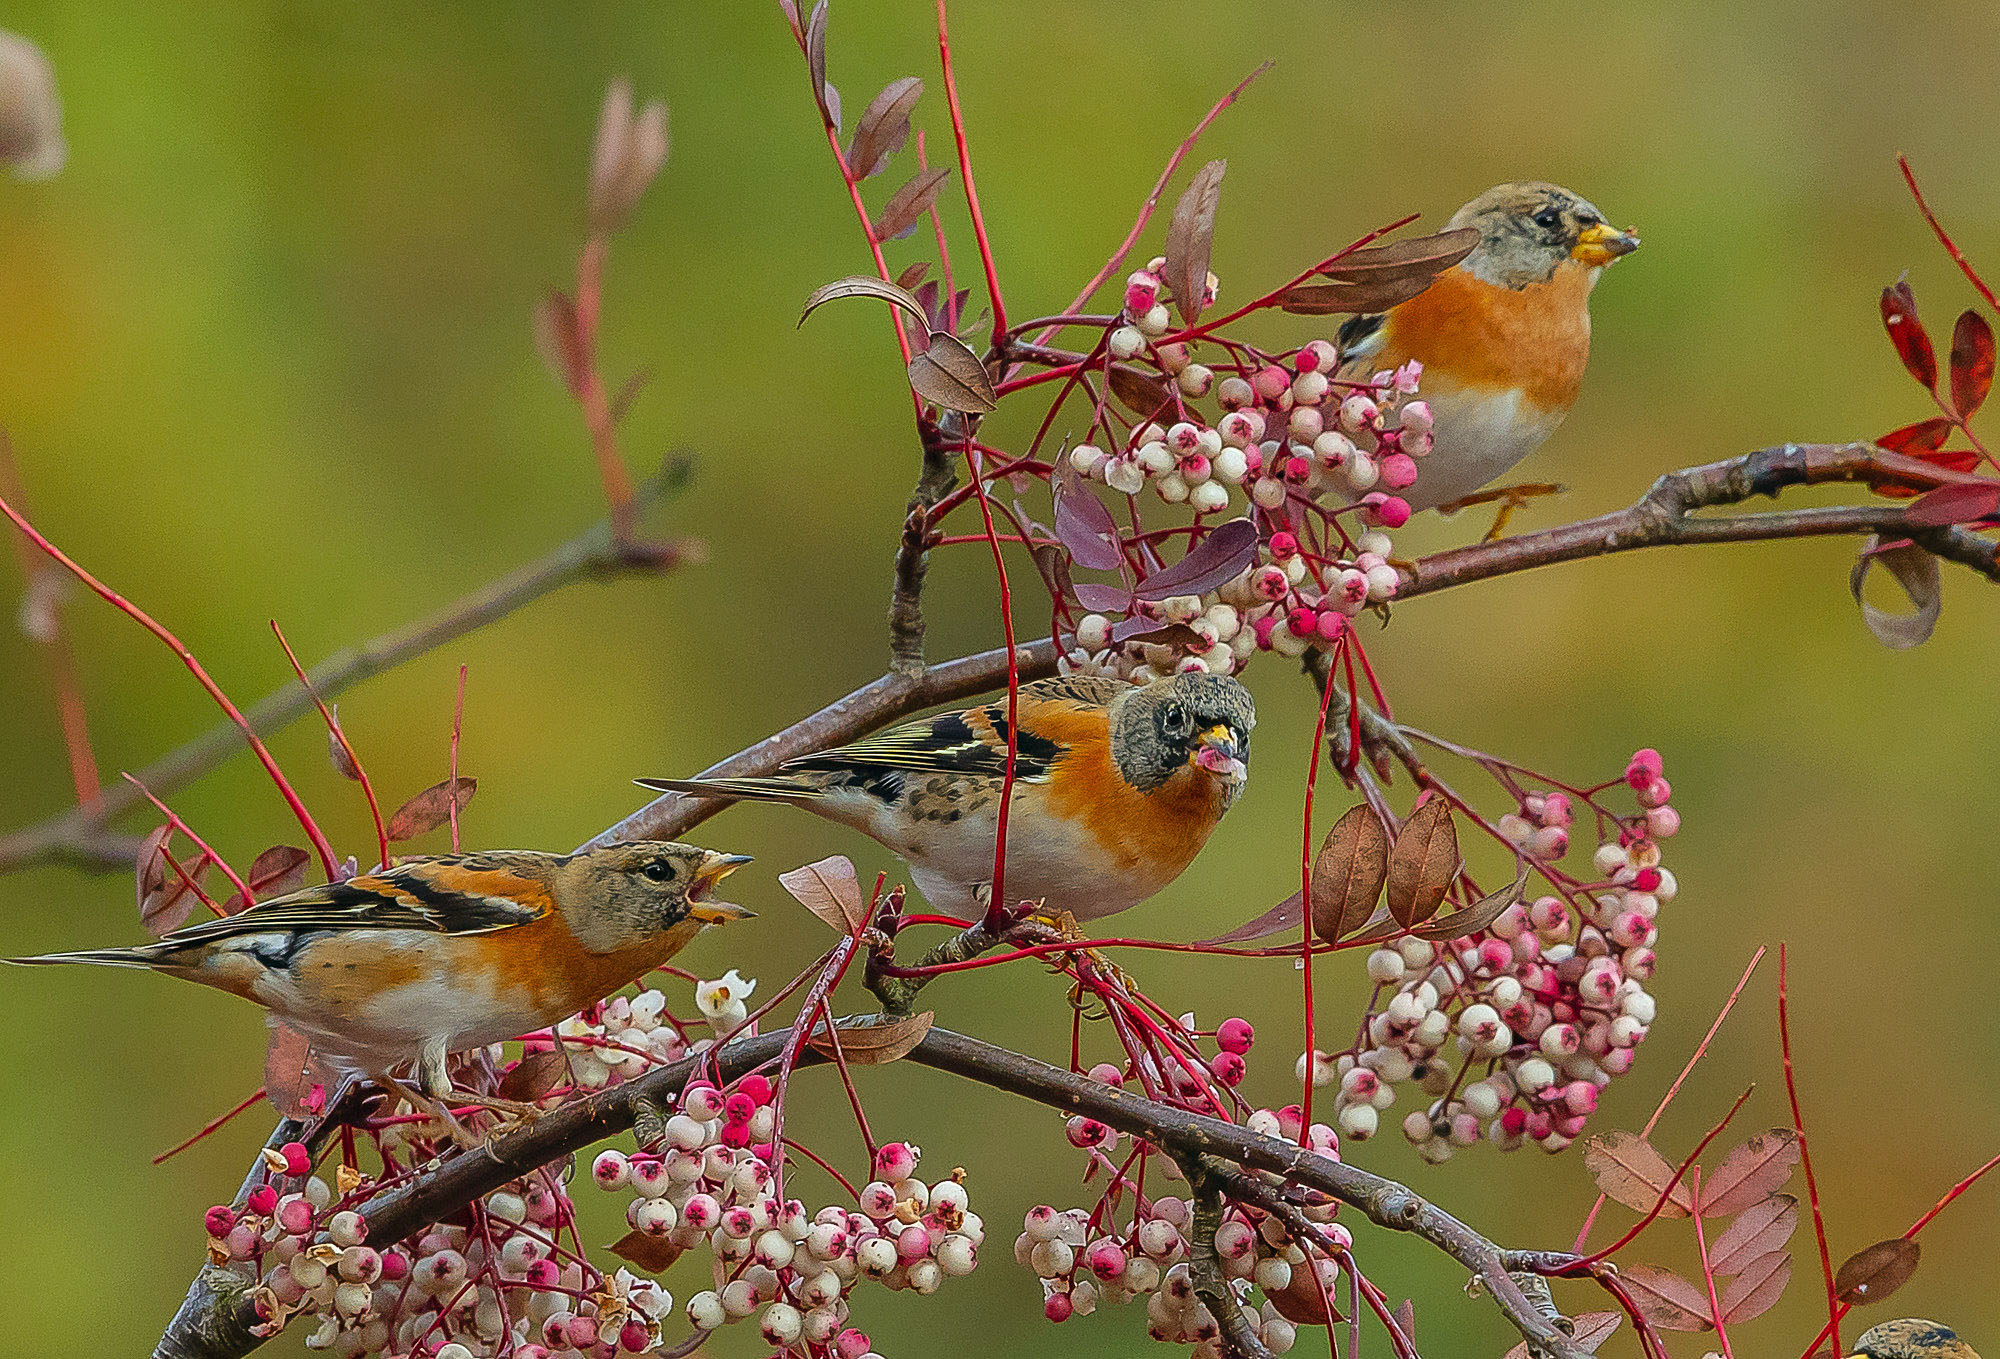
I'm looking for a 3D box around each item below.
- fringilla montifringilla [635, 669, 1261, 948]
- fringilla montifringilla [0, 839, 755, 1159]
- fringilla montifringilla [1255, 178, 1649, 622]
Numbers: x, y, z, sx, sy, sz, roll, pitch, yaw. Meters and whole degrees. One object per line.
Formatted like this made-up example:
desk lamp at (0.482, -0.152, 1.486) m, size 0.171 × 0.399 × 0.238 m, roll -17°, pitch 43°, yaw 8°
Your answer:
fringilla montifringilla at (-0.098, 0.184, 3.660) m, size 0.754 × 0.319 × 0.202 m, roll 16°, pitch -18°, yaw 4°
fringilla montifringilla at (-0.725, 0.465, 3.372) m, size 1.070 × 0.443 × 0.396 m, roll 3°, pitch -22°, yaw -15°
fringilla montifringilla at (0.803, -0.569, 4.256) m, size 0.625 × 0.460 × 0.560 m, roll 10°, pitch -73°, yaw 43°
